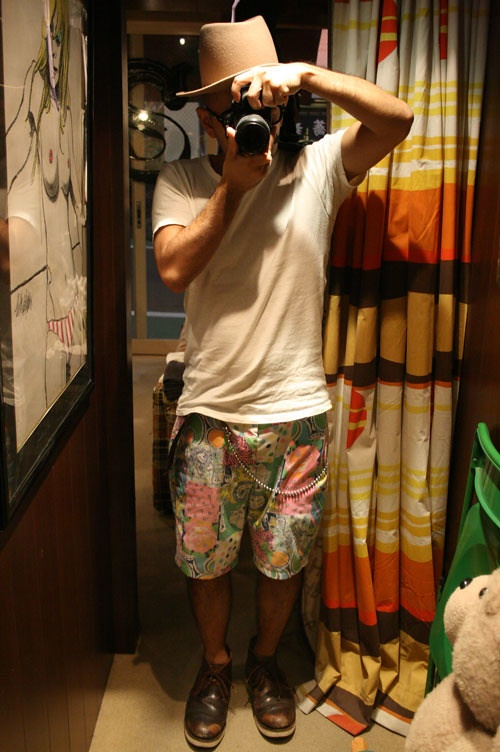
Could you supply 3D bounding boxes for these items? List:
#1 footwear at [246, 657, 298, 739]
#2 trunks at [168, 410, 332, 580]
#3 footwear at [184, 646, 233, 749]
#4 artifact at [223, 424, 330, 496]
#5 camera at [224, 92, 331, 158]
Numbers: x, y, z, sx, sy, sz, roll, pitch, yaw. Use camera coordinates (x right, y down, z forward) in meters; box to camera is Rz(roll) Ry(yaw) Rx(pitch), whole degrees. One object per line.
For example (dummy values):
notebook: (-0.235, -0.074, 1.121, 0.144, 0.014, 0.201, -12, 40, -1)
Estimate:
footwear: (0.055, 0.810, 1.418, 0.064, 0.092, 0.202, -2, 6, -5)
trunks: (0.005, 0.246, 1.400, 0.349, 0.592, 0.218, 2, 31, -4)
footwear: (-0.110, 0.807, 1.400, 0.060, 0.089, 0.199, 5, 6, 3)
artifact: (0.039, 0.182, 1.274, 0.140, 0.226, 0.044, -3, 20, 16)
camera: (0.024, -0.483, 1.067, 0.196, 0.079, 0.155, -35, 38, -28)
